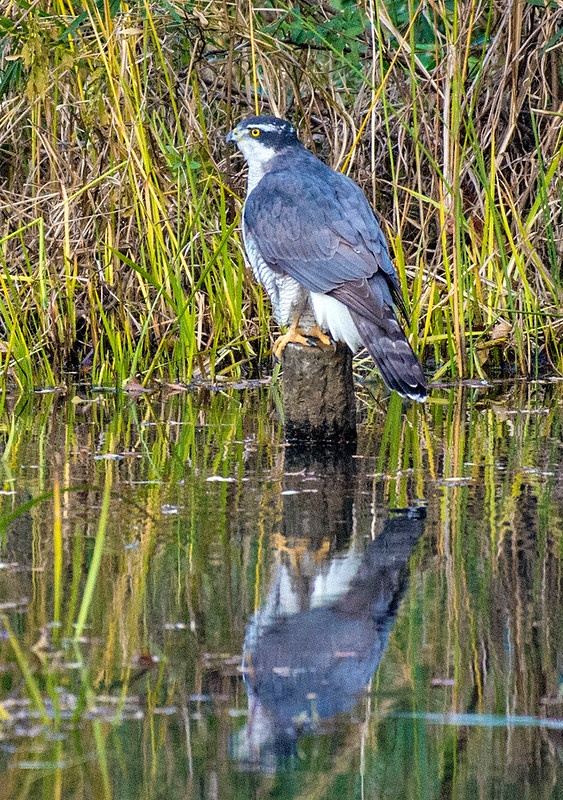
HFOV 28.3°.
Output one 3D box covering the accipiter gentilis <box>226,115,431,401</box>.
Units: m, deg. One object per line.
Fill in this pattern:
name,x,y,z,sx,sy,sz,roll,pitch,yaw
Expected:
accipiter gentilis,0.133,-0.487,3.452,0.363,0.807,1.094,-3,10,-23
